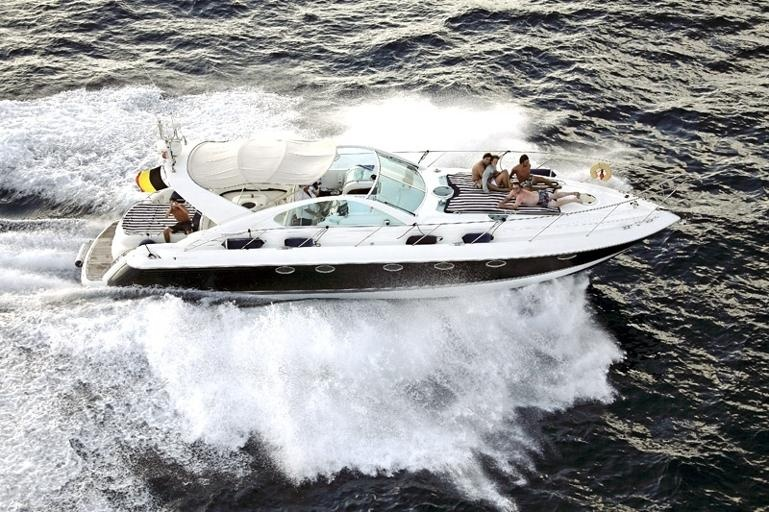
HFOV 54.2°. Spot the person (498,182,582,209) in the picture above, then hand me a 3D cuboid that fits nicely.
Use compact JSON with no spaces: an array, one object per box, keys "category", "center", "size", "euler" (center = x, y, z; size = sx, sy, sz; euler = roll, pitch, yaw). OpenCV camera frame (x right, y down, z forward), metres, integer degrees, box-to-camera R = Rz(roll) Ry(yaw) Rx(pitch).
[{"category":"person","center":[3.707,-1.560,19.861],"size":[3.046,0.634,0.574],"euler":[-1,65,-4]}]

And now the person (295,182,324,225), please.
[{"category":"person","center":[-1.976,-1.365,19.600],"size":[1.087,0.980,0.388],"euler":[-1,4,-17]}]

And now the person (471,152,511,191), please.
[{"category":"person","center":[2.809,-2.223,20.135],"size":[1.385,0.979,0.769],"euler":[2,65,11]}]
